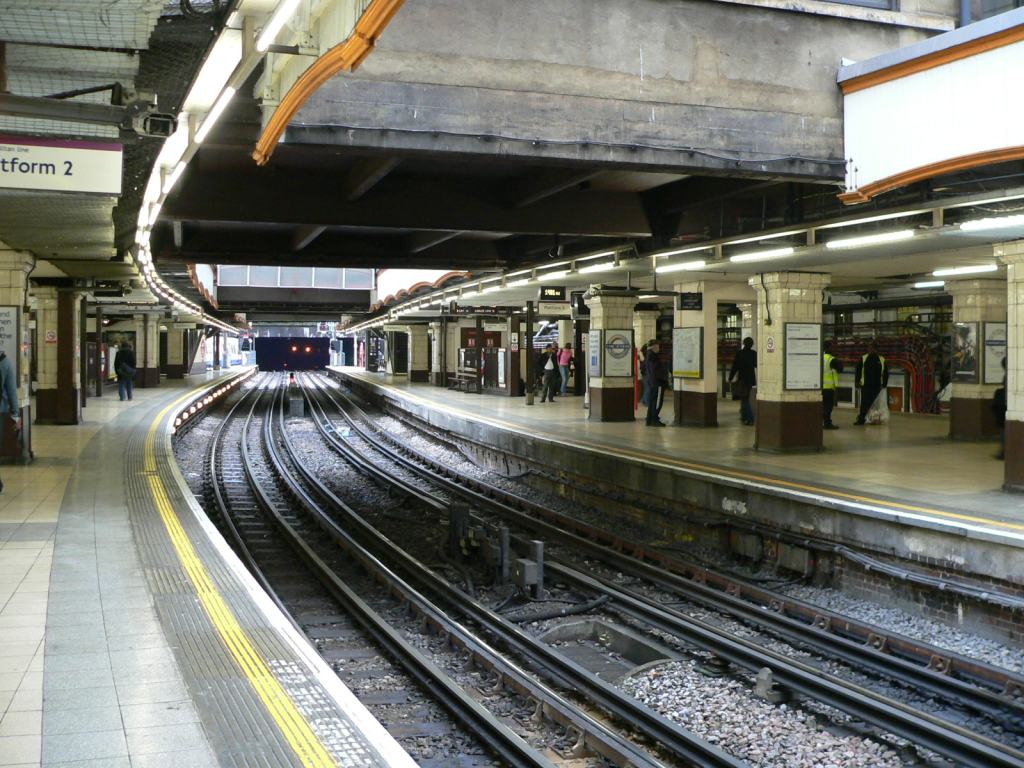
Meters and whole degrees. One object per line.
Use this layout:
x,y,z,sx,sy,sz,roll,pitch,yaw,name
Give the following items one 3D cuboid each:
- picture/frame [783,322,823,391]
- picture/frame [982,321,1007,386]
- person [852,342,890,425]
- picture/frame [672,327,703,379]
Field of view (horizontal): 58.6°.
5.378,-0.521,16.851,0.733,1.260,0.109,0,1,-10,picture/frame
9.763,-0.616,18.445,0.601,1.256,0.146,-5,3,-28,picture/frame
8.461,0.125,21.490,0.728,1.734,0.750,-2,3,17,person
4.094,-0.739,21.080,0.167,1.466,1.110,-1,6,-23,picture/frame
